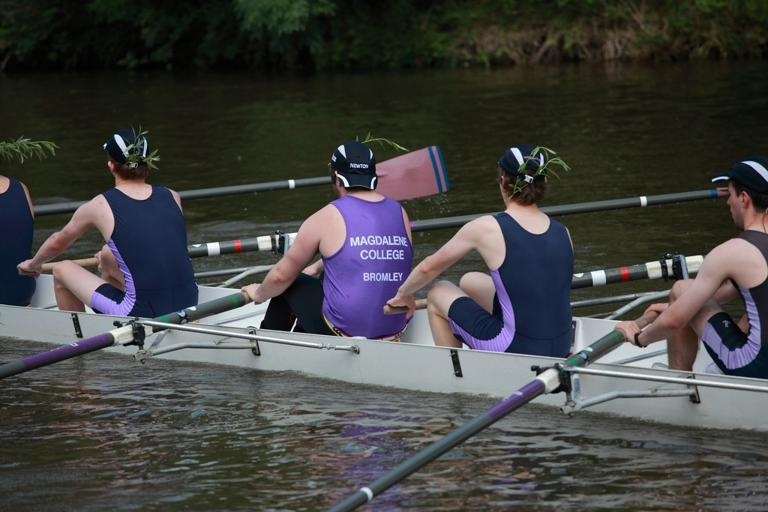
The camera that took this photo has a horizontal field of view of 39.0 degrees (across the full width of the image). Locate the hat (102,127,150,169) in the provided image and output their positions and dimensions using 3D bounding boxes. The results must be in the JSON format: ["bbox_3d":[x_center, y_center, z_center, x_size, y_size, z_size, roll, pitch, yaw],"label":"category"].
[{"bbox_3d":[-2.579,-1.075,10.722,0.356,0.235,0.470,-31,46,-33],"label":"hat"}]

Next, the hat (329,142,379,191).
[{"bbox_3d":[-0.259,-0.928,10.208,0.444,0.303,0.616,-3,35,-21],"label":"hat"}]

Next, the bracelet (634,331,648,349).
[{"bbox_3d":[2.300,0.741,9.638,0.032,0.122,0.129,-21,22,15],"label":"bracelet"}]

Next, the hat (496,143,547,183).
[{"bbox_3d":[1.299,-0.932,9.821,0.463,0.223,0.573,-1,31,10],"label":"hat"}]
